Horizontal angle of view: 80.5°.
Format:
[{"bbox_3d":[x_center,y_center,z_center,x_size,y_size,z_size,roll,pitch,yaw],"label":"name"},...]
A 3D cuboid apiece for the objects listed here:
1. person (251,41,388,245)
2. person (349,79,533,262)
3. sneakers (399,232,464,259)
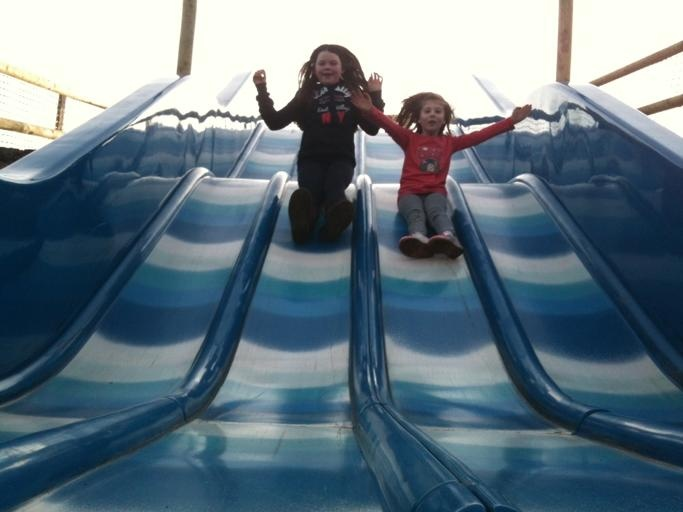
[{"bbox_3d":[-0.158,-0.906,3.194,1.004,1.779,0.719,-1,-21,1],"label":"person"},{"bbox_3d":[0.718,-0.627,2.975,1.325,1.476,0.667,5,-19,7],"label":"person"},{"bbox_3d":[0.538,-0.050,2.440,0.306,0.123,0.171,9,-46,8],"label":"sneakers"}]
